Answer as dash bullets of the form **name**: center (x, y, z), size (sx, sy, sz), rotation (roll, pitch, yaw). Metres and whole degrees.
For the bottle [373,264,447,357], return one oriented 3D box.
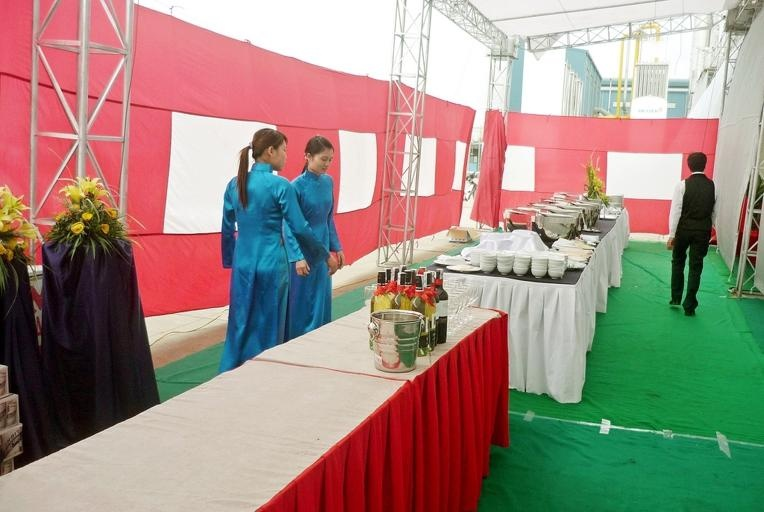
- **bottle**: center (0.139, 0.235, 2.627), size (0.370, 0.560, 0.338), rotation (-1, 4, 0)

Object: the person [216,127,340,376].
- **person**: center (-0.759, -0.006, 3.966), size (0.766, 1.785, 0.572), rotation (5, 22, -2)

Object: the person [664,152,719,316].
- **person**: center (3.382, -0.223, 6.102), size (0.417, 1.774, 0.545), rotation (9, 15, 29)

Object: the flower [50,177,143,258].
- **flower**: center (-1.672, -0.196, 3.266), size (0.435, 0.463, 0.465), rotation (2, 4, 29)

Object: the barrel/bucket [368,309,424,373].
- **barrel/bucket**: center (0.059, 0.373, 2.495), size (0.231, 0.223, 0.249), rotation (1, 1, 0)
